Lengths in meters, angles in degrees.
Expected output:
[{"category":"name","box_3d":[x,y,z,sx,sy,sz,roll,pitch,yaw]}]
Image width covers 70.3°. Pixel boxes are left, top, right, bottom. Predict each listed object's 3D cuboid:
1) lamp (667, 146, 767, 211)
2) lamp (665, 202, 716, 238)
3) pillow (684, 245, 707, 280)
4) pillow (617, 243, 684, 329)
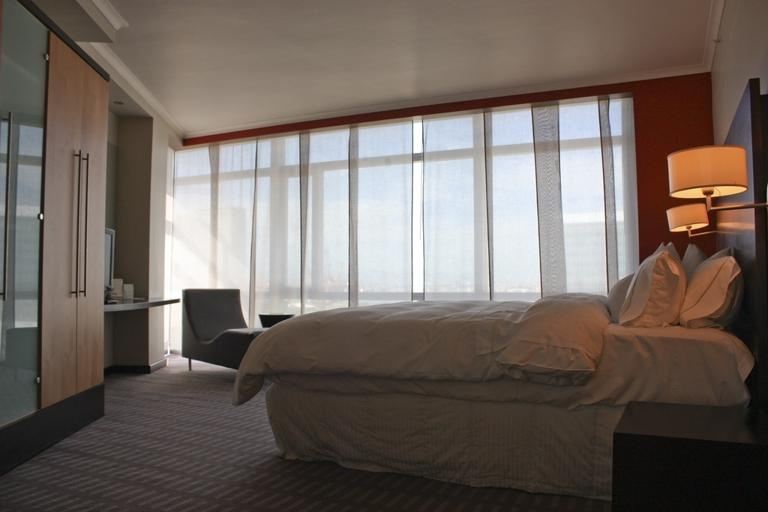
[{"category":"lamp","box_3d":[2.034,-0.485,3.394,0.475,0.396,0.462,-8,-4,42]},{"category":"lamp","box_3d":[2.880,-0.334,5.106,0.439,0.300,0.344,2,-7,-23]},{"category":"pillow","box_3d":[2.228,0.050,3.916,0.056,0.175,0.189,25,17,-1]},{"category":"pillow","box_3d":[1.840,0.074,3.800,0.421,0.620,0.844,3,1,30]}]
